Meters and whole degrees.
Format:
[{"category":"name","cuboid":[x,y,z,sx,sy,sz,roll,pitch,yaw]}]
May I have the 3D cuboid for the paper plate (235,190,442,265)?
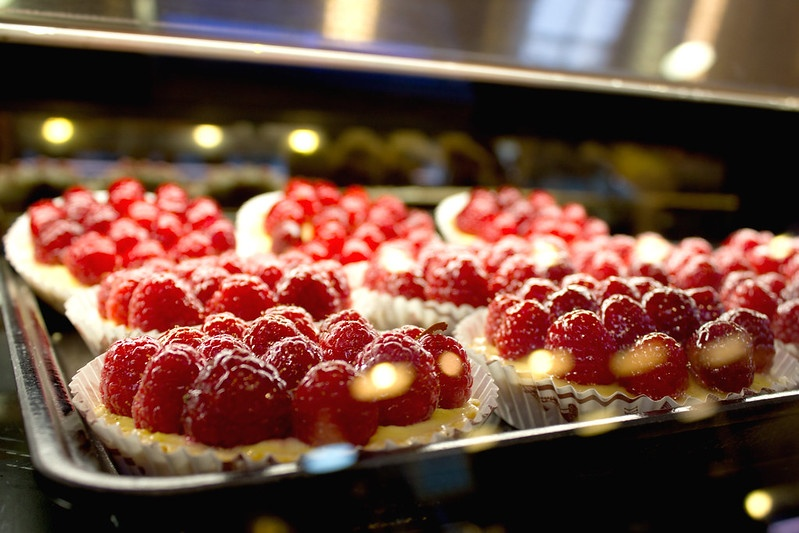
[{"category":"paper plate","cuboid":[-0.260,-0.145,2.513,0.472,0.151,0.386,4,9,0]}]
